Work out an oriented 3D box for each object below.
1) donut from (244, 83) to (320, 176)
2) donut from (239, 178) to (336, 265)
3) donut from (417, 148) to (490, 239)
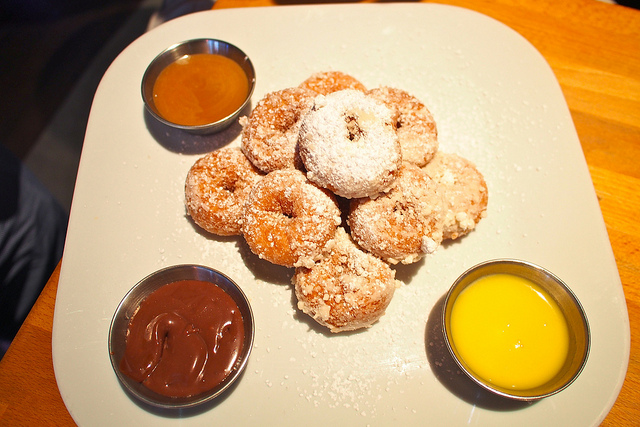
[{"bbox_3d":[-0.264,-0.521,3.607,0.492,0.174,0.523,-4,80,11],"label":"donut"},{"bbox_3d":[-0.183,0.035,3.495,0.524,0.154,0.483,16,79,1],"label":"donut"},{"bbox_3d":[0.854,-0.161,3.668,0.474,0.155,0.531,-12,70,-1],"label":"donut"}]
